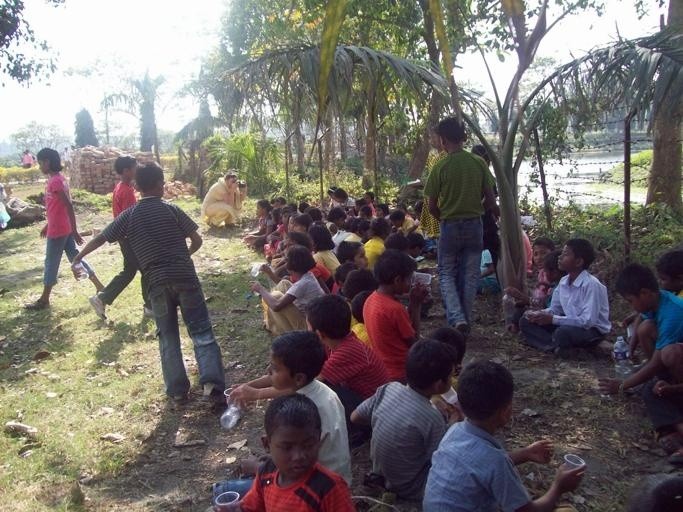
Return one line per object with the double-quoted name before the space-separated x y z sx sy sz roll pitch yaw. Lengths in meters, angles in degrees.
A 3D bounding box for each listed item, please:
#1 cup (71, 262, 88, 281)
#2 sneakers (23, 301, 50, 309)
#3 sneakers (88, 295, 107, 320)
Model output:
"cup" -3.080 0.174 6.227 0.131 0.226 0.223 -10 52 -19
"sneakers" -4.138 0.675 7.180 0.273 0.128 0.121 6 0 -26
"sneakers" -3.081 0.653 6.681 0.124 0.299 0.106 -22 28 -8
